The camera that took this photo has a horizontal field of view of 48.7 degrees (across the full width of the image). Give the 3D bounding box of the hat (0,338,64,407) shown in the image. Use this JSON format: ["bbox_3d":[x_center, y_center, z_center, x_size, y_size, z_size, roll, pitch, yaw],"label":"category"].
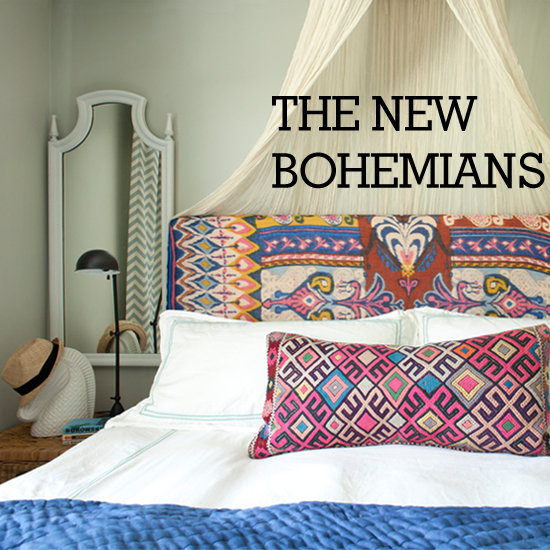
[{"bbox_3d":[-0.938,0.386,2.410,0.096,0.244,0.186,40,2,-30],"label":"hat"}]
